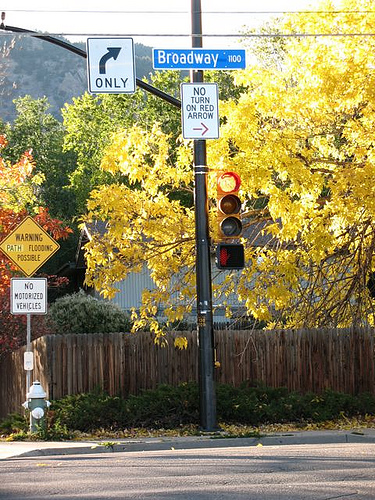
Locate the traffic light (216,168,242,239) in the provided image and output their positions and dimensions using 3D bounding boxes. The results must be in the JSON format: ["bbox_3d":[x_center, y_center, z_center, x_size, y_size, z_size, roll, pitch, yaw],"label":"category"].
[{"bbox_3d":[0.656,-0.704,17.676,0.483,1.051,0.372,0,-9,1],"label":"traffic light"}]

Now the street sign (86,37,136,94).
[{"bbox_3d":[-1.198,-2.914,17.811,0.731,0.852,0.520,-5,18,-1],"label":"street sign"}]
